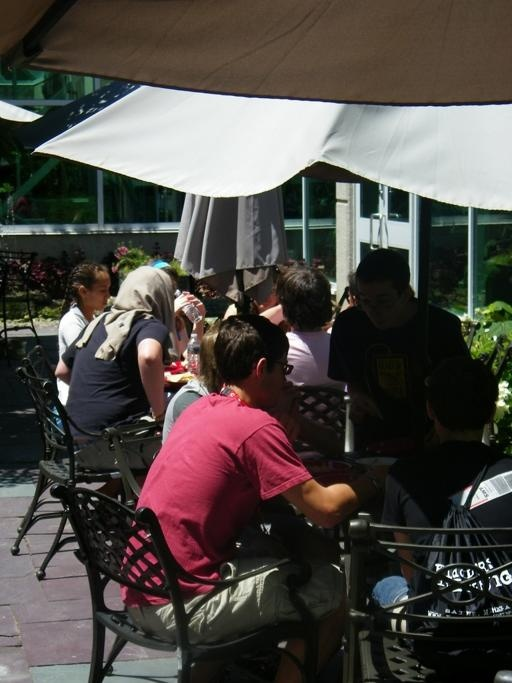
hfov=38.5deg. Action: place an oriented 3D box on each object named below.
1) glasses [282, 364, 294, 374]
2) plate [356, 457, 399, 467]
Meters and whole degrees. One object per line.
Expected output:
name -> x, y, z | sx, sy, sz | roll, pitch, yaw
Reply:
glasses -> 0.105, 0.091, 2.408 | 0.047, 0.042, 0.015 | -1, -5, -14
plate -> 0.432, 0.429, 2.621 | 0.154, 0.032, 0.076 | 1, 1, -31
